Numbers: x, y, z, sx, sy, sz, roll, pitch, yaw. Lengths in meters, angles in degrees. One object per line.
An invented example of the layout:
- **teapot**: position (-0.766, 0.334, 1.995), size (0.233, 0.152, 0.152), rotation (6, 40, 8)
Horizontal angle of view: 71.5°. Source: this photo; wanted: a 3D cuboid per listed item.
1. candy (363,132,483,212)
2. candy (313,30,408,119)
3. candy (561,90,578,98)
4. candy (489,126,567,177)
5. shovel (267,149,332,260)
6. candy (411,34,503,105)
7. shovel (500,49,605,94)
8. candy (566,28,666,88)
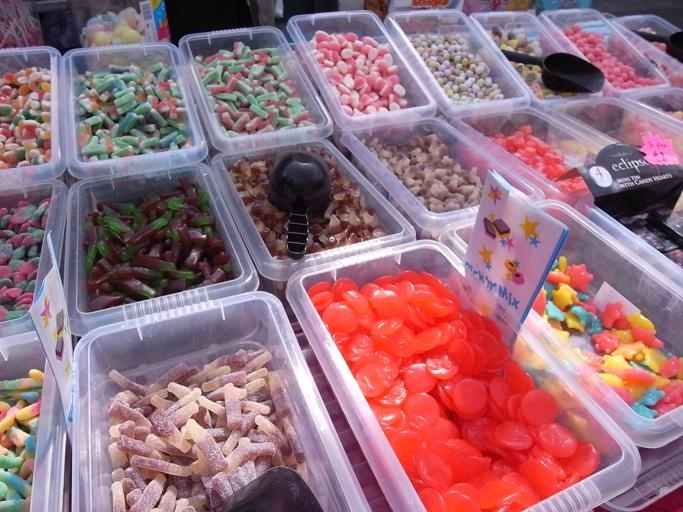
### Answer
- **candy**: position (0.337, -0.291, 1.977), size (0.315, 0.142, 0.449), rotation (-14, 48, -29)
- **candy**: position (0.089, -0.843, 2.164), size (0.404, 0.182, 0.659), rotation (-13, 50, -13)
- **candy**: position (1.072, -0.760, 2.237), size (0.043, 0.033, 0.042), rotation (-15, 38, -18)
- **candy**: position (0.823, -0.405, 2.140), size (0.202, 0.092, 0.301), rotation (-29, 64, -26)
- **shovel**: position (-0.149, -0.145, 1.598), size (0.201, 0.154, 0.389), rotation (6, 59, -7)
- **candy**: position (0.541, -0.918, 2.302), size (0.348, 0.148, 0.481), rotation (-7, 61, -27)
- **shovel**: position (0.993, -0.906, 2.335), size (0.515, 0.111, 0.157), rotation (32, 66, 25)
- **candy**: position (1.318, -1.026, 2.355), size (0.295, 0.131, 0.421), rotation (-26, 60, -14)
